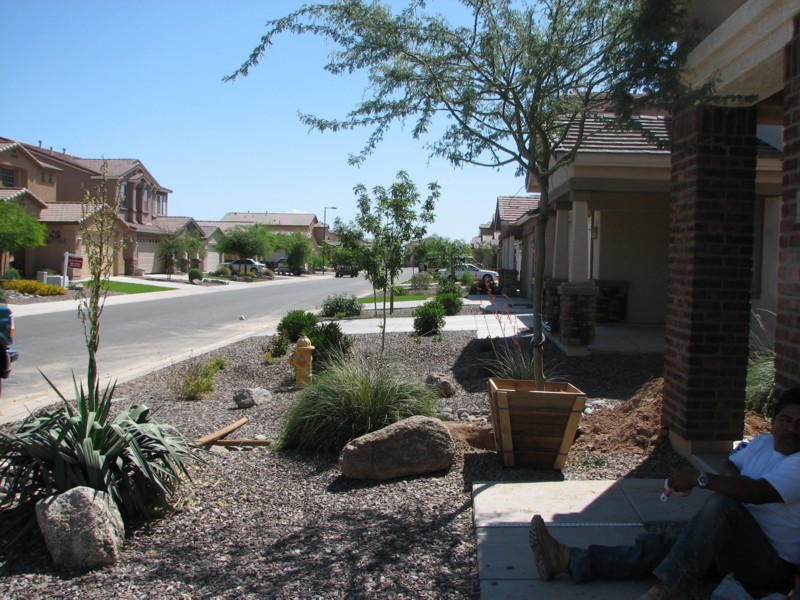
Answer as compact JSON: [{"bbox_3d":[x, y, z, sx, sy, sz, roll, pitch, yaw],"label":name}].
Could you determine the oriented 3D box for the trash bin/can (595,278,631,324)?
[{"bbox_3d":[5.660,-0.011,15.809,1.025,1.434,1.061,0,5,5],"label":"trash bin/can"}]

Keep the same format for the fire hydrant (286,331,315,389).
[{"bbox_3d":[-1.627,1.038,9.946,0.326,0.858,0.518,-4,5,-36],"label":"fire hydrant"}]

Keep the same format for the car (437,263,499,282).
[{"bbox_3d":[5.518,-1.637,47.853,5.077,1.949,2.214,-2,7,-1],"label":"car"}]
